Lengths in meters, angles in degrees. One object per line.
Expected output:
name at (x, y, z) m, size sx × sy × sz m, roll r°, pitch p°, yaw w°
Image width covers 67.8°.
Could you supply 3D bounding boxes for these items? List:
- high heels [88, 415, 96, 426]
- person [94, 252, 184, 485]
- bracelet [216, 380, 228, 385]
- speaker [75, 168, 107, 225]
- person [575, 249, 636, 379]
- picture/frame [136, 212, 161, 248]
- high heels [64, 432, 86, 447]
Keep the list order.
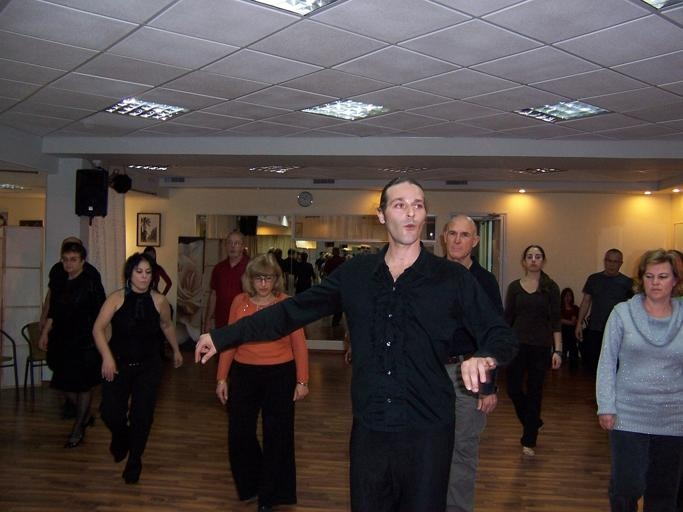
high heels at (-2.861, 1.899, 5.841) m, size 0.058 × 0.160 × 0.071 m, roll 3°, pitch 7°, yaw -36°
person at (-1.810, 0.982, 4.503) m, size 0.702 × 2.111 × 0.441 m, roll 1°, pitch 0°, yaw -26°
bracelet at (-0.947, 0.997, 4.008) m, size 0.046 × 0.034 × 0.045 m, roll 1°, pitch -9°, yaw -1°
speaker at (-3.903, -0.990, 7.954) m, size 0.561 × 0.857 × 0.252 m, roll 1°, pitch 0°, yaw 5°
person at (3.540, 0.964, 6.741) m, size 0.745 × 2.099 × 0.507 m, roll 7°, pitch 18°, yaw 32°
picture/frame at (-4.439, -0.619, 11.744) m, size 0.661 × 0.850 × 0.122 m, roll 1°, pitch 0°, yaw 21°
high heels at (-2.783, 1.907, 5.337) m, size 0.160 × 0.161 × 0.335 m, roll 1°, pitch 0°, yaw -16°
